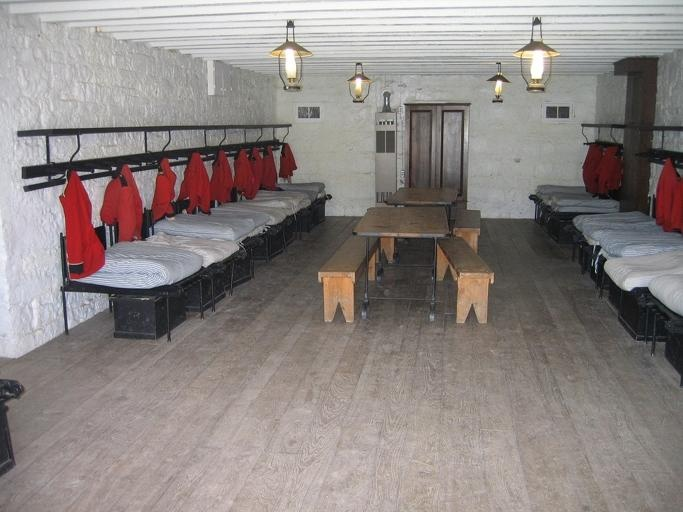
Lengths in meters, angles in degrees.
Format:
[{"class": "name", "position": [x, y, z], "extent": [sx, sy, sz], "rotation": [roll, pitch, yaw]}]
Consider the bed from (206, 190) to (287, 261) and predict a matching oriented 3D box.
[{"class": "bed", "position": [-1.414, -0.600, 7.333], "extent": [0.846, 0.597, 1.211], "rotation": [8, 19, 14]}]

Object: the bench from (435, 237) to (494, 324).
[{"class": "bench", "position": [1.456, 0.323, 5.725], "extent": [0.278, 0.385, 1.018], "rotation": [-2, 18, -1]}]

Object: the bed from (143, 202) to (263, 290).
[{"class": "bed", "position": [-1.860, -0.122, 6.126], "extent": [1.170, 0.349, 0.910], "rotation": [6, 19, 11]}]

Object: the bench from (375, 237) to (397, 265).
[{"class": "bench", "position": [0.680, -0.073, 7.281], "extent": [0.300, 0.621, 0.328], "rotation": [4, 21, 12]}]

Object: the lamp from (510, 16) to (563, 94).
[{"class": "lamp", "position": [1.687, -1.785, 4.092], "extent": [0.378, 0.649, 0.385], "rotation": [1, 10, 15]}]

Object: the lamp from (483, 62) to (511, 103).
[{"class": "lamp", "position": [2.960, -3.280, 8.912], "extent": [0.602, 0.701, 0.614], "rotation": [12, 21, 37]}]

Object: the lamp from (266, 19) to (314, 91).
[{"class": "lamp", "position": [-0.445, -1.840, 4.198], "extent": [0.293, 0.569, 0.302], "rotation": [-2, 13, -4]}]

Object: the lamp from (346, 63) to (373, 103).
[{"class": "lamp", "position": [0.301, -3.046, 8.268], "extent": [0.421, 0.656, 0.402], "rotation": [-7, 15, -33]}]

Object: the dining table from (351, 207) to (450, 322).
[{"class": "dining table", "position": [0.856, 0.181, 6.234], "extent": [1.147, 1.015, 2.049], "rotation": [2, 4, 12]}]

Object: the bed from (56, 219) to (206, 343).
[{"class": "bed", "position": [-2.285, 0.223, 5.229], "extent": [1.124, 0.990, 1.002], "rotation": [3, 10, 0]}]
